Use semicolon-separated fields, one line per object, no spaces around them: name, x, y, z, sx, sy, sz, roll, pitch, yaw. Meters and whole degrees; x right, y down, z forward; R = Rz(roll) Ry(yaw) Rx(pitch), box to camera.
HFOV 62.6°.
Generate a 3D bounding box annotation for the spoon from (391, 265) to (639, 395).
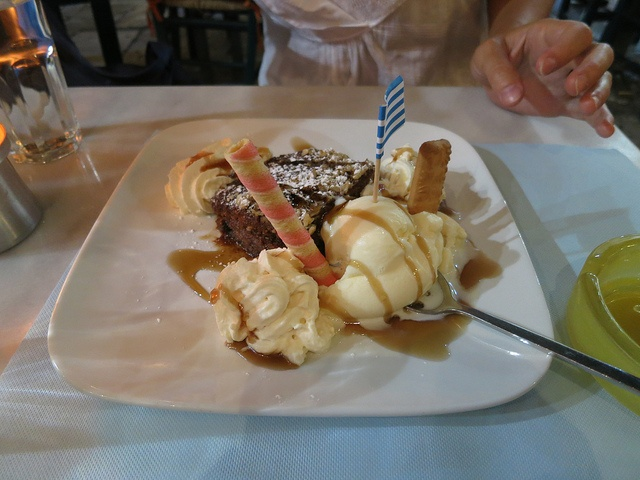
spoon;0.565;0.224;1.637;0.763;0.042;0.236;23;59;41
